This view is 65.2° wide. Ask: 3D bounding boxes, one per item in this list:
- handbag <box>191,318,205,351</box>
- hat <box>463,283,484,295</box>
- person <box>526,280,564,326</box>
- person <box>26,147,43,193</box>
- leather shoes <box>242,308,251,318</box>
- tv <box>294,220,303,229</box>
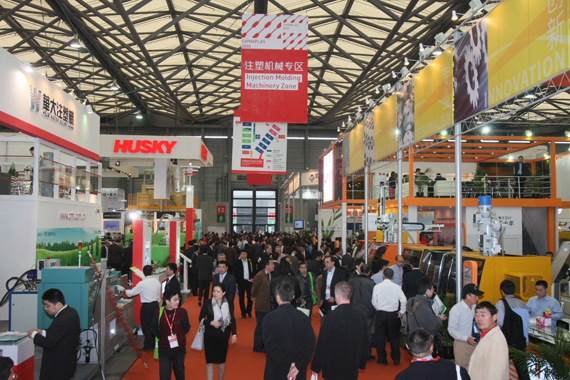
[{"bbox_3d":[-1.463,2.455,7.482,0.190,0.604,0.786,1,-7,-12],"label":"handbag"},{"bbox_3d":[3.062,1.622,7.250,0.262,0.146,0.190,-4,-2,4],"label":"hat"},{"bbox_3d":[4.680,2.031,8.059,0.553,0.785,0.380,-5,-8,33],"label":"person"},{"bbox_3d":[-6.737,-0.573,12.047,0.316,1.375,0.796,3,-7,-30],"label":"person"},{"bbox_3d":[-1.031,3.324,11.989,0.259,0.276,0.169,-3,-5,19],"label":"leather shoes"},{"bbox_3d":[0.948,2.430,31.509,0.678,0.774,0.386,2,-4,22],"label":"tv"}]
